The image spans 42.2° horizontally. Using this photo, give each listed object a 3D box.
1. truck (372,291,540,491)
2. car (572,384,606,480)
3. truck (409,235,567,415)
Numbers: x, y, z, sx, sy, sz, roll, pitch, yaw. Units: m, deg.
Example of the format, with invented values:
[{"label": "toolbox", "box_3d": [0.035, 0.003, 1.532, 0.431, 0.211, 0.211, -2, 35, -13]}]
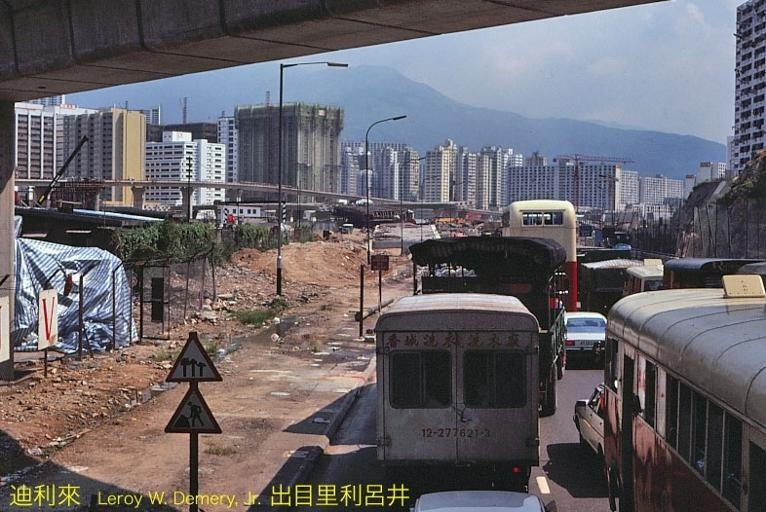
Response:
[{"label": "truck", "box_3d": [1.766, 2.926, 22.481, 3.032, 4.018, 5.571, 0, -2, 5]}, {"label": "car", "box_3d": [4.836, 4.026, 22.771, 0.743, 1.858, 1.433, 0, 0, 3]}, {"label": "truck", "box_3d": [1.647, 2.627, 23.789, 3.351, 4.342, 6.243, -1, 11, 1]}]
